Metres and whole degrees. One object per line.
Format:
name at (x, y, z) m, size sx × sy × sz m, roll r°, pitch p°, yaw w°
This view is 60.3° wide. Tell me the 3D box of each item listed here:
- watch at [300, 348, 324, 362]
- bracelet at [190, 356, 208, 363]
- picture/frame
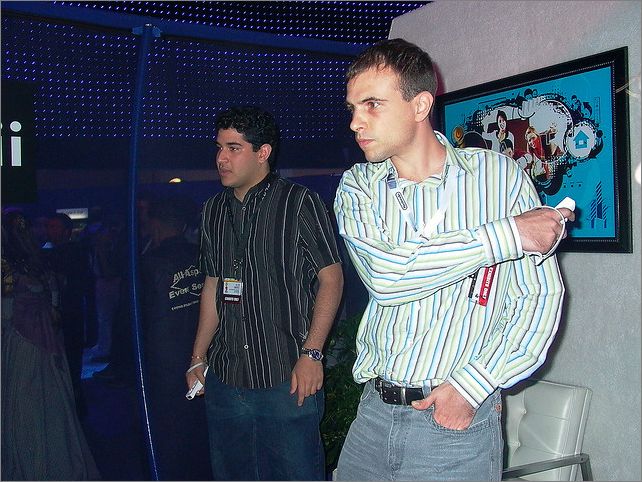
watch at (-0.030, 0.490, 2.393) m, size 0.064 × 0.030 × 0.062 m, roll 21°, pitch -15°, yaw -28°
bracelet at (-0.566, 0.559, 2.601) m, size 0.046 × 0.021 × 0.036 m, roll -12°, pitch -20°, yaw 43°
picture/frame at (0.974, -0.405, 2.372) m, size 0.043 × 0.848 × 1.115 m, roll -3°, pitch 1°, yaw -29°
